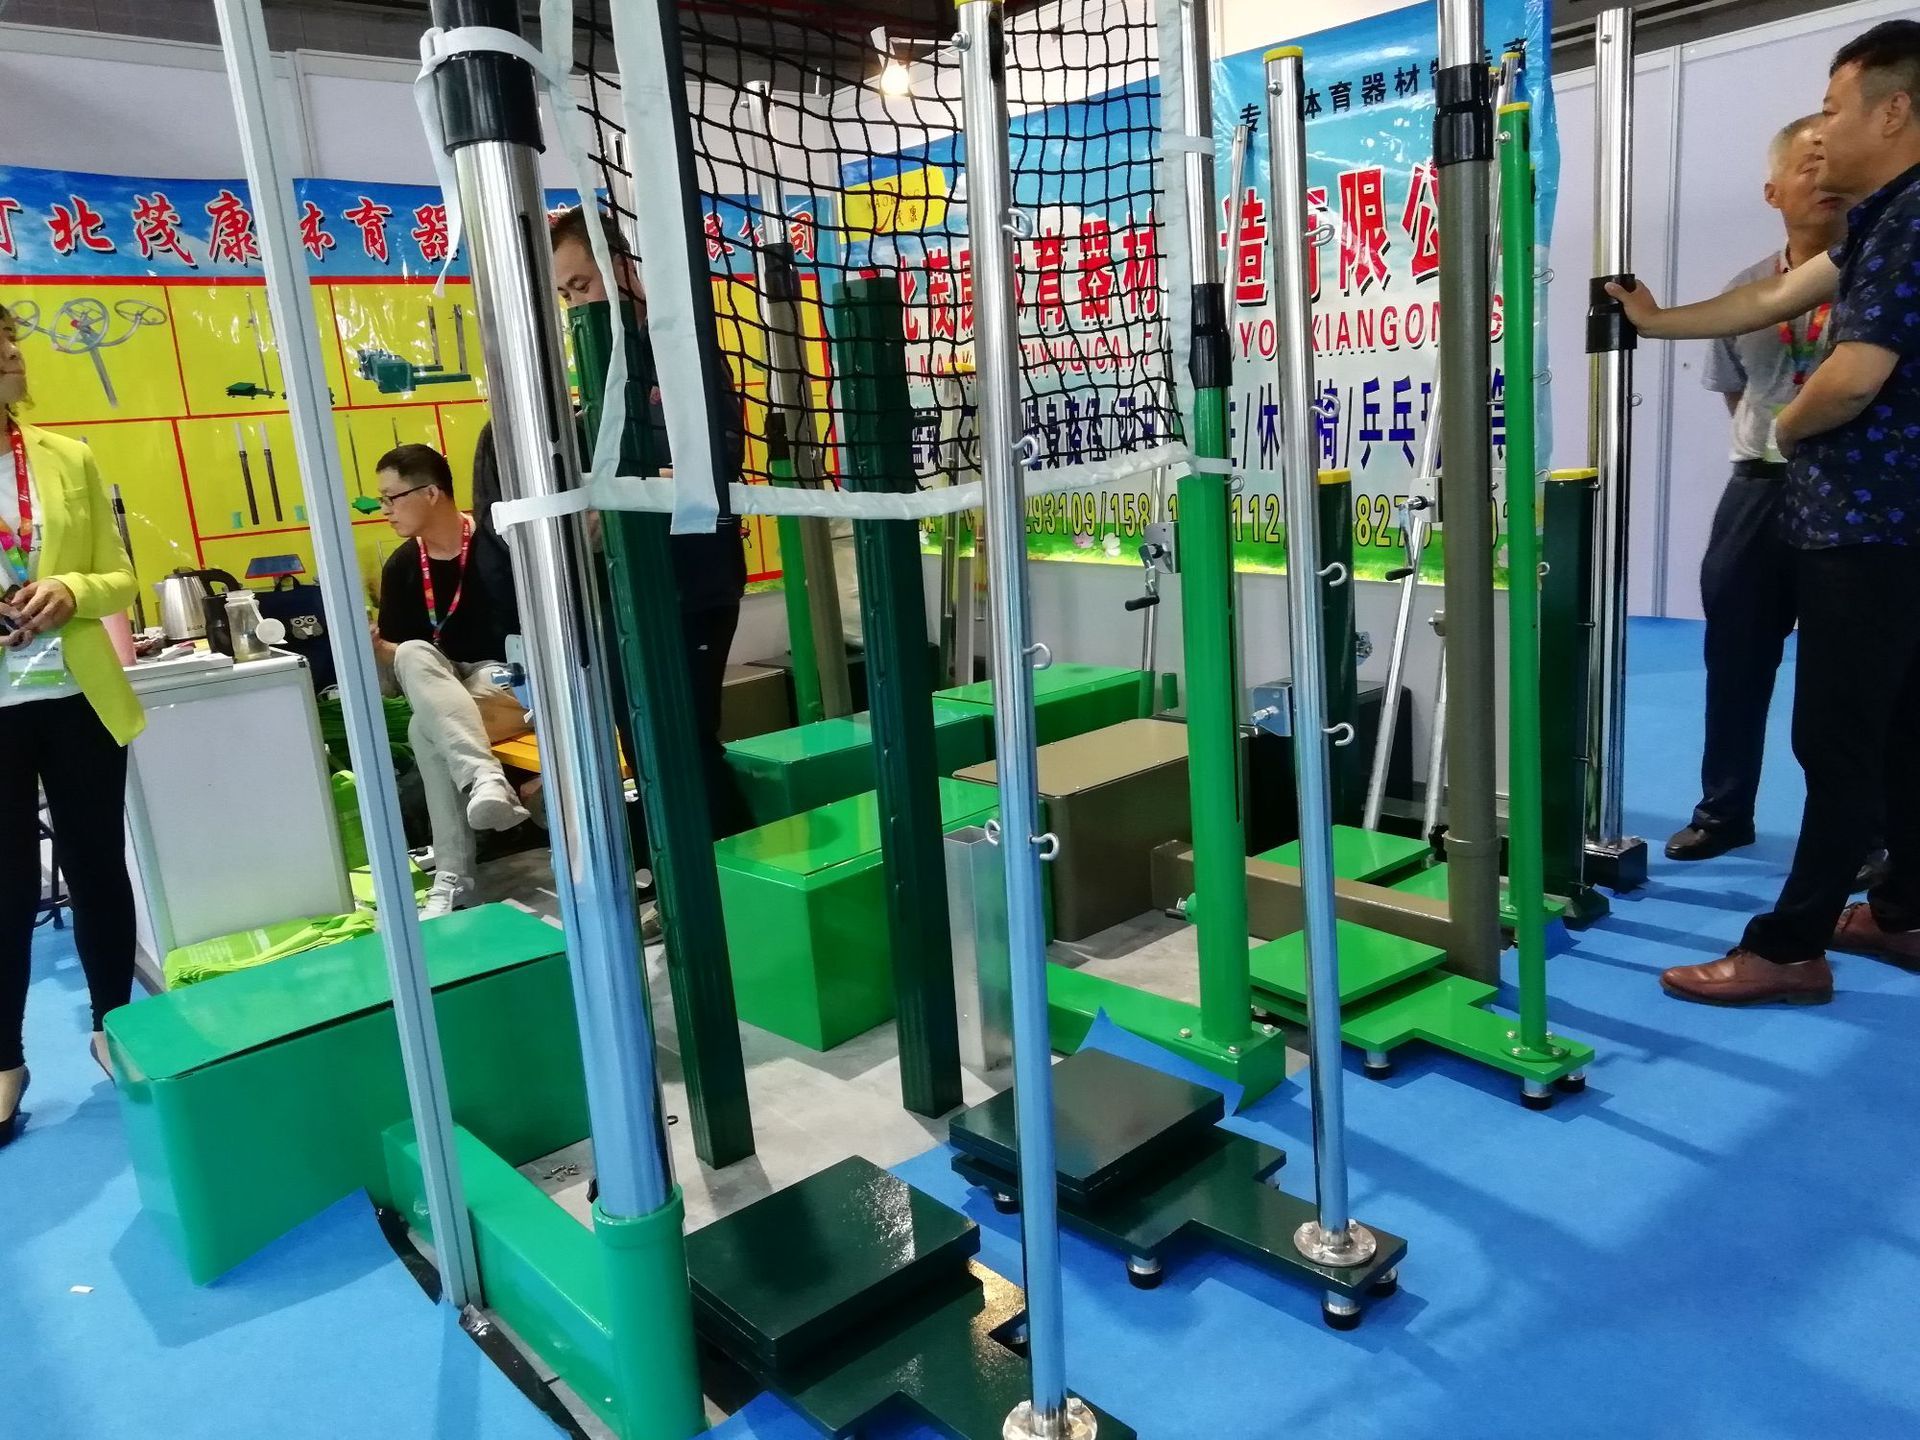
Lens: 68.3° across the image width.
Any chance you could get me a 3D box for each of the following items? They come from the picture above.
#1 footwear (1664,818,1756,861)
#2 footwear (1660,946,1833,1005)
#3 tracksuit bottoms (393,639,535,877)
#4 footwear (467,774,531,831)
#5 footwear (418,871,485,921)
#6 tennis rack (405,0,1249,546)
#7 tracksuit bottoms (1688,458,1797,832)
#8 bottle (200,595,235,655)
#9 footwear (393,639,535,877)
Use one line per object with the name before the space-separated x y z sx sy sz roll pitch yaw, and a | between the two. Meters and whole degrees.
footwear | 2.336 0.364 4.416 0.248 0.101 0.123 -7 11 -8
footwear | 1.997 0.664 3.663 0.398 0.185 0.158 2 9 16
tracksuit bottoms | -1.669 0.132 4.789 0.358 0.812 0.609 -10 13 -21
footwear | -1.525 0.299 4.660 0.176 0.078 0.214 -23 -20 -17
footwear | -1.707 0.577 4.719 0.141 0.124 0.375 -7 12 -10
tennis rack | -0.272 -0.622 2.578 1.190 1.210 0.318 1 -31 -3
tracksuit bottoms | 2.444 -0.217 4.385 0.275 1.189 0.329 2 8 15
bottle | -2.290 -0.296 4.369 0.069 0.187 0.178 -12 14 -28
footwear | -1.671 0.132 4.789 0.353 0.812 0.609 -10 13 -21
